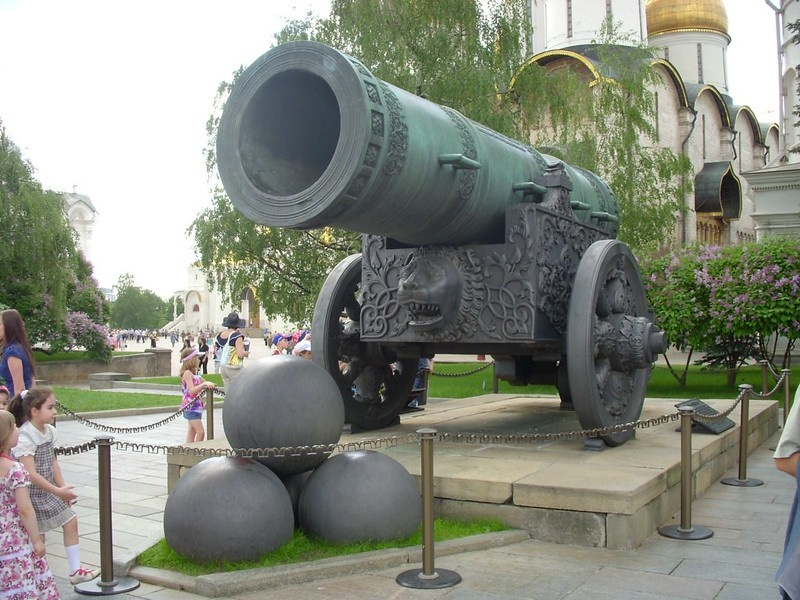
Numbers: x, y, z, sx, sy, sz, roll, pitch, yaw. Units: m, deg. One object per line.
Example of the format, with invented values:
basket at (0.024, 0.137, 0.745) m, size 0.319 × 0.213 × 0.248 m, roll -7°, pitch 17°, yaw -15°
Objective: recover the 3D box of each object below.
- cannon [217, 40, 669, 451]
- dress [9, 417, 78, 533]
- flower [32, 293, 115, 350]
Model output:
cannon at (0.240, -0.470, 6.643) m, size 2.876 × 2.716 × 4.029 m, roll -7°, pitch -13°, yaw 36°
dress at (-2.465, 1.209, 5.258) m, size 0.341 × 0.729 × 0.461 m, roll 4°, pitch 1°, yaw 13°
flower at (-9.185, 0.727, 21.066) m, size 1.201 × 1.776 × 3.040 m, roll -1°, pitch 2°, yaw 12°
